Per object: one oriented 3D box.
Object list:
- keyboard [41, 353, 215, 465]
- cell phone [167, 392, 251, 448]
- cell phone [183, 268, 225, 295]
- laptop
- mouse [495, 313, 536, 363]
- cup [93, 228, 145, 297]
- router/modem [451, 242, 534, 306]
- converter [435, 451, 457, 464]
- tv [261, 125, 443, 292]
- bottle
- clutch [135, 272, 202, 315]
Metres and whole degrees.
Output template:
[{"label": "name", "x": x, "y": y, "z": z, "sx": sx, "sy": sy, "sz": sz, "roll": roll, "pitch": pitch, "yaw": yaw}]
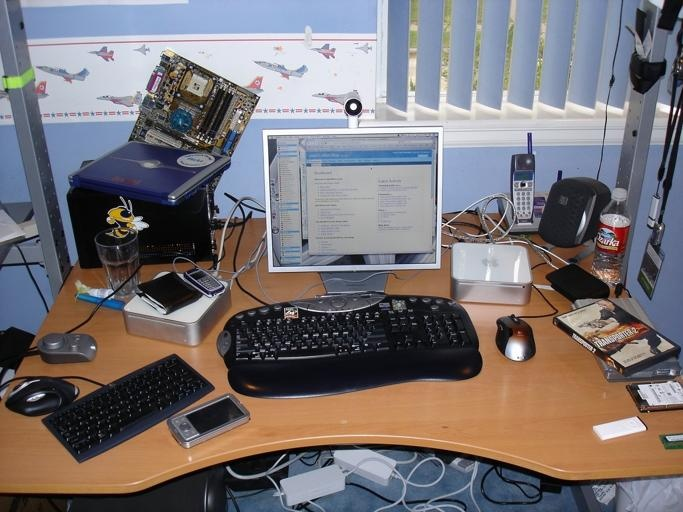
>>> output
[{"label": "keyboard", "x": -0.513, "y": 0.366, "z": 1.278, "sx": 0.368, "sy": 0.098, "sz": 0.156, "roll": -14, "pitch": 25, "yaw": -33}, {"label": "cell phone", "x": -0.316, "y": 0.392, "z": 1.249, "sx": 0.154, "sy": 0.026, "sz": 0.091, "roll": -17, "pitch": 37, "yaw": -27}, {"label": "cell phone", "x": -0.403, "y": 0.056, "z": 1.537, "sx": 0.125, "sy": 0.029, "sz": 0.062, "roll": 33, "pitch": 45, "yaw": 32}, {"label": "laptop", "x": -0.608, "y": -0.288, "z": 1.708, "sx": 0.323, "sy": 0.068, "sz": 0.293, "roll": 13, "pitch": 33, "yaw": 16}, {"label": "mouse", "x": 0.474, "y": 0.223, "z": 1.410, "sx": 0.079, "sy": 0.044, "sz": 0.124, "roll": 3, "pitch": 36, "yaw": 3}, {"label": "cup", "x": -0.710, "y": 0.020, "z": 1.669, "sx": 0.125, "sy": 0.200, "sz": 0.130, "roll": 4, "pitch": 40, "yaw": -3}, {"label": "router/modem", "x": 0.465, "y": 0.044, "z": 1.621, "sx": 0.212, "sy": 0.061, "sz": 0.203, "roll": 2, "pitch": 36, "yaw": 5}, {"label": "converter", "x": 0.423, "y": 0.812, "z": 2.101, "sx": 0.045, "sy": 0.013, "sz": 0.049, "roll": -15, "pitch": 28, "yaw": -29}, {"label": "tv", "x": 0.038, "y": -0.156, "z": 1.599, "sx": 0.488, "sy": 0.424, "sz": 0.202, "roll": -1, "pitch": 21, "yaw": 0}, {"label": "bottle", "x": 0.884, "y": -0.049, "z": 1.724, "sx": 0.143, "sy": 0.332, "sz": 0.114, "roll": -10, "pitch": 22, "yaw": -22}, {"label": "clutch", "x": -0.501, "y": 0.101, "z": 1.506, "sx": 0.131, "sy": 0.035, "sz": 0.117, "roll": 32, "pitch": 44, "yaw": 32}]
